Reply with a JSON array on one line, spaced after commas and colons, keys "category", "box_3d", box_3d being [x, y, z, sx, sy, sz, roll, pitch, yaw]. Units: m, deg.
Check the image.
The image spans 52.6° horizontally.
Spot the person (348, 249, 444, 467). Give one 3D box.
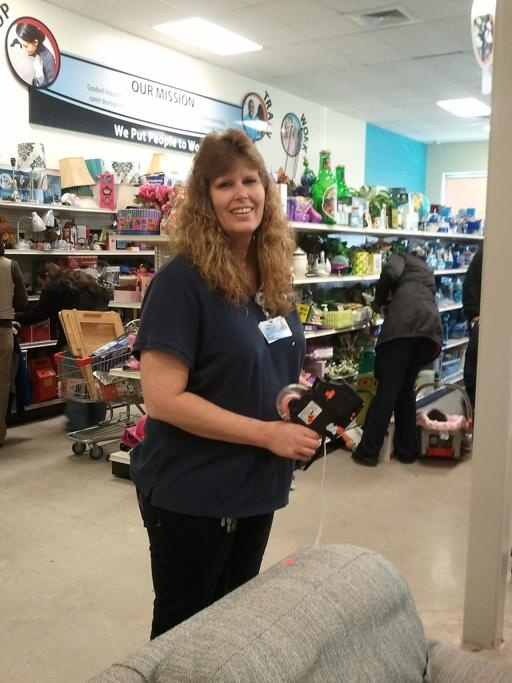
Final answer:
[{"category": "person", "box_3d": [1.228, 0.131, 4.384, 0.648, 1.801, 0.627, 5, 7, 30]}]
